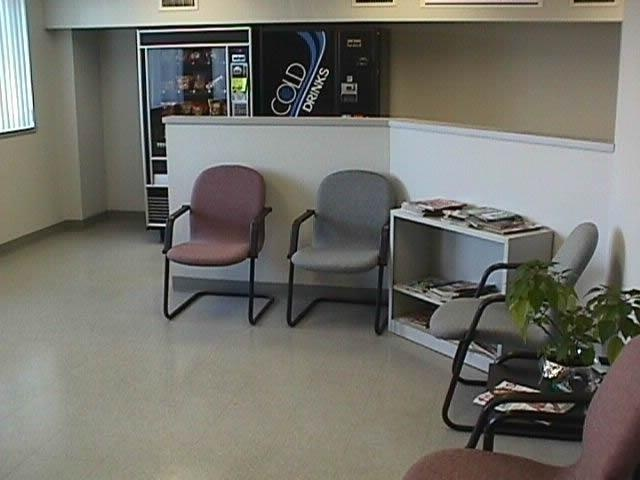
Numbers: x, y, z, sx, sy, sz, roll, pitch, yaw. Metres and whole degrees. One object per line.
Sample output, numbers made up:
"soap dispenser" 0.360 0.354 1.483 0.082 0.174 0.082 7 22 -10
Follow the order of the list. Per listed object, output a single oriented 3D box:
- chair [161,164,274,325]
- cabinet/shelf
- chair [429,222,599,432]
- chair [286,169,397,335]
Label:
"chair" -0.741 0.011 3.654 0.762 1.022 0.640 0 14 2
"cabinet/shelf" 0.815 0.276 2.727 0.288 0.751 0.758 0 10 -39
"chair" 0.922 0.385 2.478 0.694 1.006 0.577 2 12 19
"chair" 0.167 0.081 3.430 0.705 1.060 0.789 0 9 -11
